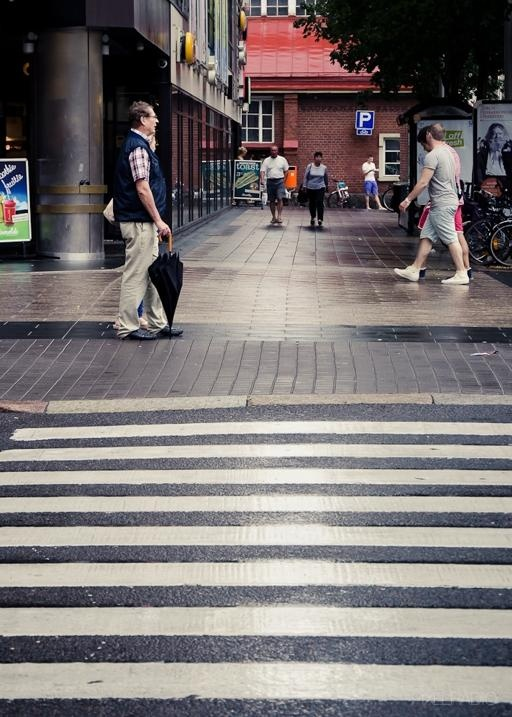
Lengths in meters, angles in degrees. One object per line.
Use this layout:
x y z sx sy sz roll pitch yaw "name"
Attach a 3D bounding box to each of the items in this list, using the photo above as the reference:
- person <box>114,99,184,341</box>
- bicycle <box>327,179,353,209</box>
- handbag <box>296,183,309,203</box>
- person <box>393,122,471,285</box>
-1.227 -1.499 6.936 0.677 2.389 0.638 0 0 -10 "person"
4.740 -9.340 36.332 1.233 1.413 2.146 3 23 8 "bicycle"
1.663 -5.547 21.846 0.422 0.761 0.751 0 -2 -4 "handbag"
3.120 -2.668 11.112 1.172 2.863 0.689 0 0 -13 "person"
